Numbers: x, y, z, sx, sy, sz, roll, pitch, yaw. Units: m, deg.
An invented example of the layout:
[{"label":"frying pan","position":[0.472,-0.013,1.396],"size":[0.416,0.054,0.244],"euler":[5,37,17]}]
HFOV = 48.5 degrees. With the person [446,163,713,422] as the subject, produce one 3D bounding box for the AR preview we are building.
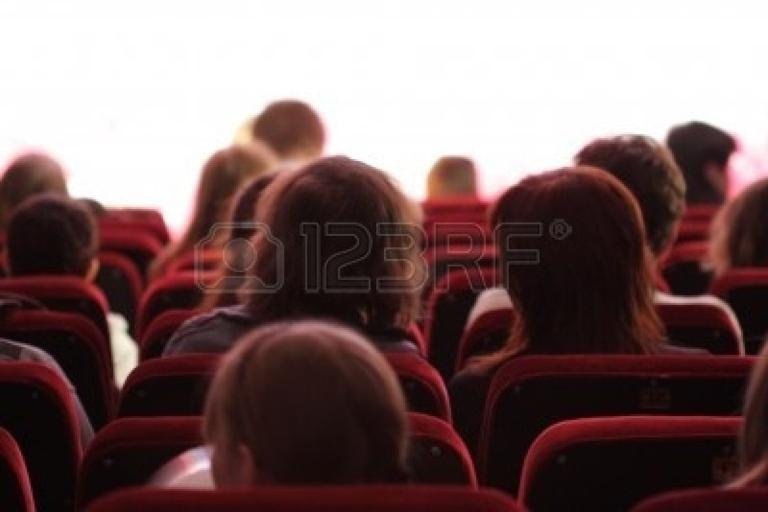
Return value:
[{"label":"person","position":[0.751,0.165,3.247],"size":[0.950,0.978,0.539],"euler":[-3,19,3]}]
